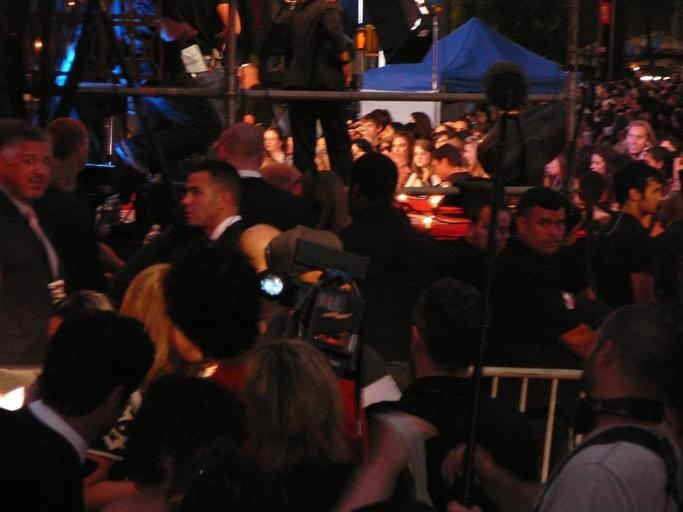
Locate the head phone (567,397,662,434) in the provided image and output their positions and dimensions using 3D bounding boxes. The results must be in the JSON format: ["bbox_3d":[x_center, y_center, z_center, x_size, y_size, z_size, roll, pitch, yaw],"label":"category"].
[{"bbox_3d":[1.000,0.565,2.517,0.228,0.069,0.161,0,-7,11],"label":"head phone"}]
